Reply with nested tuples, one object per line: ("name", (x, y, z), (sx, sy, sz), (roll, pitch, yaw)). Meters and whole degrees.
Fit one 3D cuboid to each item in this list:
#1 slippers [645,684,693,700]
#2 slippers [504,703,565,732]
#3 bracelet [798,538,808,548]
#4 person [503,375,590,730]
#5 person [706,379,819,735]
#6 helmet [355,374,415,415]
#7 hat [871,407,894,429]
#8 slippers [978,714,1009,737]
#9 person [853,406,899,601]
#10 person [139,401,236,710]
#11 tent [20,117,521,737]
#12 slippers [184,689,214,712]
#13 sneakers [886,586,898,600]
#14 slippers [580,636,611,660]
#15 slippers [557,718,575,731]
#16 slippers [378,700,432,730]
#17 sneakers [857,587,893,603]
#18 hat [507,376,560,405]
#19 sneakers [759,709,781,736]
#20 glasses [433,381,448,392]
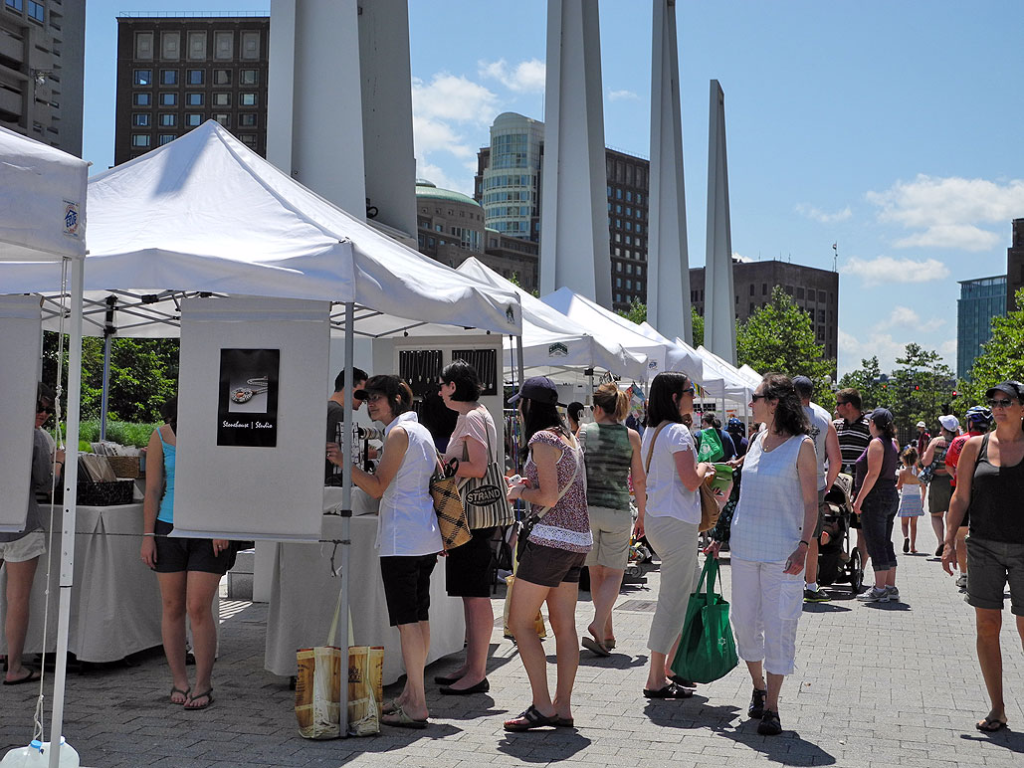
("slippers", (1.246, 2.429, 8.042), (0.377, 0.150, 0.145), (-2, -1, -1))
("slippers", (0.168, 2.387, 7.244), (0.401, 0.186, 0.169), (3, -9, -3))
("bracelet", (2.062, 1.113, 7.089), (0.043, 0.038, 0.047), (-1, -1, 30))
("person", (0.246, 1.215, 7.356), (0.657, 2.280, 0.506), (1, 0, -21))
("person", (1.892, 1.209, 7.296), (0.581, 2.541, 0.407), (1, 0, 16))
("helmet", (-0.910, 0.054, 7.409), (0.365, 0.319, 0.266), (-24, 19, -33))
("hat", (4.732, 0.375, 12.821), (0.232, 0.341, 0.321), (5, 9, 14))
("slippers", (3.508, 2.478, 7.312), (0.174, 0.071, 0.103), (1, 0, -1))
("person", (4.592, 1.522, 12.605), (0.562, 2.501, 1.170), (1, 1, 21))
("person", (-2.515, 1.264, 7.738), (0.667, 1.752, 0.873), (1, 1, -35))
("tent", (-2.285, -0.054, 9.049), (4.191, 4.254, 4.217), (2, 6, 7))
("slippers", (-2.382, 2.359, 7.634), (0.215, 0.119, 0.319), (1, 1, -9))
("sneakers", (4.794, 2.602, 12.585), (0.102, 0.184, 0.323), (2, 1, 34))
("slippers", (0.782, 2.446, 9.365), (0.275, 0.075, 0.141), (38, -9, -32))
("slippers", (0.392, 2.457, 7.276), (0.085, 0.060, 0.091), (2, -8, -6))
("slippers", (-0.774, 2.373, 7.290), (0.331, 0.146, 0.151), (7, -4, 15))
("sneakers", (4.583, 2.648, 12.611), (0.363, 0.187, 0.157), (2, -1, 16))
("hat", (0.167, 0.040, 7.394), (0.280, 0.166, 0.217), (2, -2, 20))
("sneakers", (1.862, 2.407, 7.219), (0.199, 0.178, 0.185), (1, 1, 2))
("glasses", (-0.652, 0.010, 9.147), (0.132, 0.045, 0.136), (12, -2, -11))
